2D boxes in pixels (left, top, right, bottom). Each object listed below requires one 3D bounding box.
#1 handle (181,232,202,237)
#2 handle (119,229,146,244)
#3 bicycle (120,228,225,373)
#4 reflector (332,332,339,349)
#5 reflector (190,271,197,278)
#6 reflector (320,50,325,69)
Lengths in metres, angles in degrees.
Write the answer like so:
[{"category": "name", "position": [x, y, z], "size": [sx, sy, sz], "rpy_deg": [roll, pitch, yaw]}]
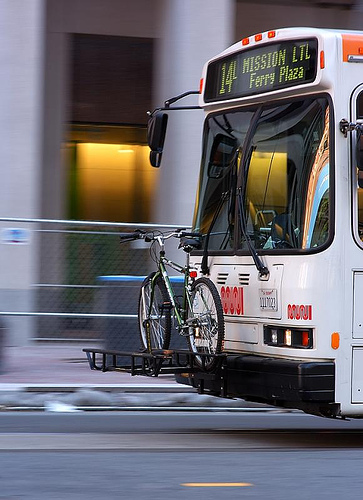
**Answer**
[{"category": "handle", "position": [0.068, -0.122, 6.818], "size": [0.047, 0.050, 0.221], "rpy_deg": [-1, -1, 37]}, {"category": "handle", "position": [-0.508, -0.143, 8.136], "size": [0.214, 0.070, 0.118], "rpy_deg": [-20, -6, 20]}, {"category": "bicycle", "position": [0.176, 0.415, 7.017], "size": [0.773, 0.891, 1.493], "rpy_deg": [2, 1, -25]}, {"category": "reflector", "position": [1.054, 0.620, 5.745], "size": [0.053, 0.114, 0.010], "rpy_deg": [2, -1, -31]}, {"category": "reflector", "position": [0.089, 0.196, 6.789], "size": [0.054, 0.037, 0.013], "rpy_deg": [-5, 5, 31]}, {"category": "reflector", "position": [0.979, -1.325, 5.849], "size": [0.017, 0.133, 0.060], "rpy_deg": [2, -1, -19]}]
